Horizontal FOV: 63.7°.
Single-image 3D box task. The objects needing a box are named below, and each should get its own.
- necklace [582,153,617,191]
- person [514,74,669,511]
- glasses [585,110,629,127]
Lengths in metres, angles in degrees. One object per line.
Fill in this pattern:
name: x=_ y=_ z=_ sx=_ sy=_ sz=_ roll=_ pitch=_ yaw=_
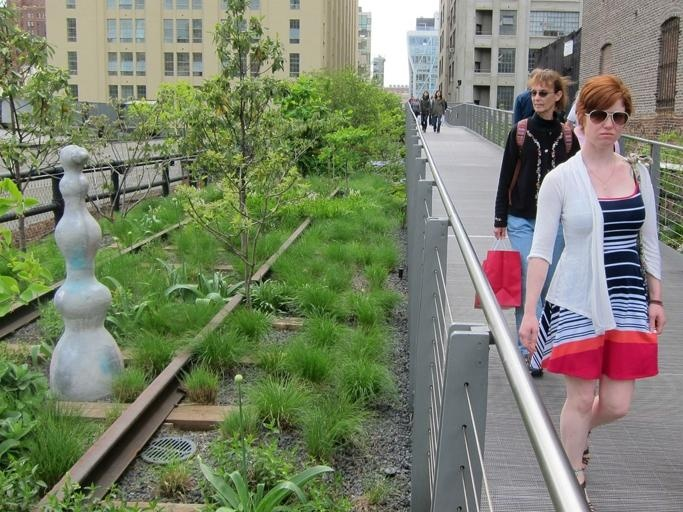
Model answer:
necklace: x=1.442 y=-0.427 z=3.095 sx=0.145 sy=0.246 sz=0.073 roll=-4 pitch=-13 yaw=-10
person: x=1.402 y=0.145 z=3.050 sx=0.720 sy=2.244 sz=0.552 roll=3 pitch=11 yaw=13
glasses: x=1.475 y=-0.753 z=3.007 sx=0.267 sy=0.077 sz=0.086 roll=-2 pitch=12 yaw=-15
